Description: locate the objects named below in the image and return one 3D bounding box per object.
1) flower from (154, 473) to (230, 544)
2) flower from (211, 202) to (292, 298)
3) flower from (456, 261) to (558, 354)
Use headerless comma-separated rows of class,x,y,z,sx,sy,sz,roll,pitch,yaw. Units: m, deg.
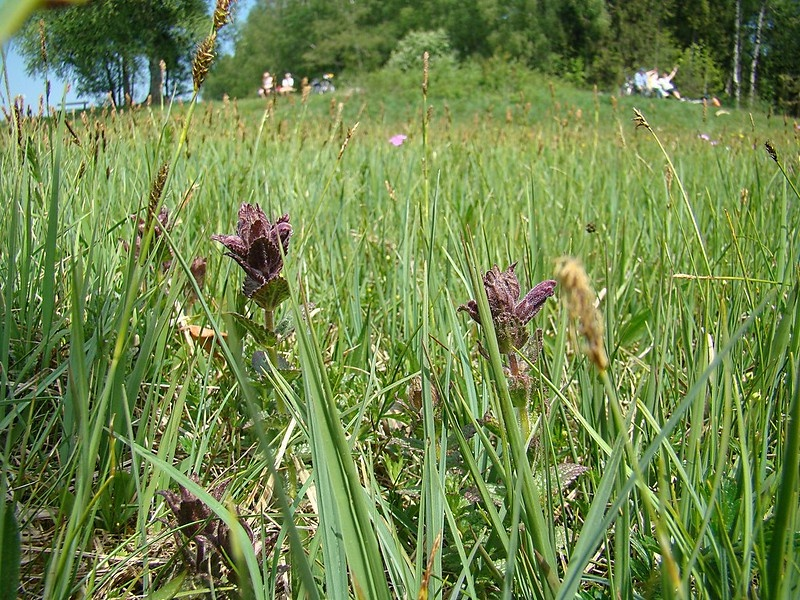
flower,-0.484,0.482,1.690,0.121,0.106,0.138,1,-16,6
flower,-0.434,-0.130,2.065,0.195,0.263,0.224,5,16,21
flower,0.301,0.018,1.825,0.195,0.214,0.118,-7,12,-36
